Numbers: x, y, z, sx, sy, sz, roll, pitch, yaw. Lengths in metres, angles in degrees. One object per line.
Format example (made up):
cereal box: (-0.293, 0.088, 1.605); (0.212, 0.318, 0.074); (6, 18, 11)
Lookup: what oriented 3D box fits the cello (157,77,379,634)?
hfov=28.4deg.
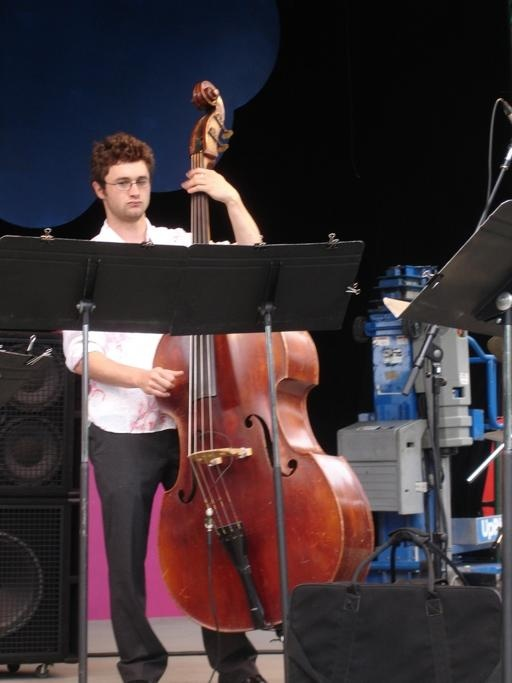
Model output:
cello: (-0.125, 0.046, 3.093); (0.677, 1.557, 0.330); (-19, -16, 35)
